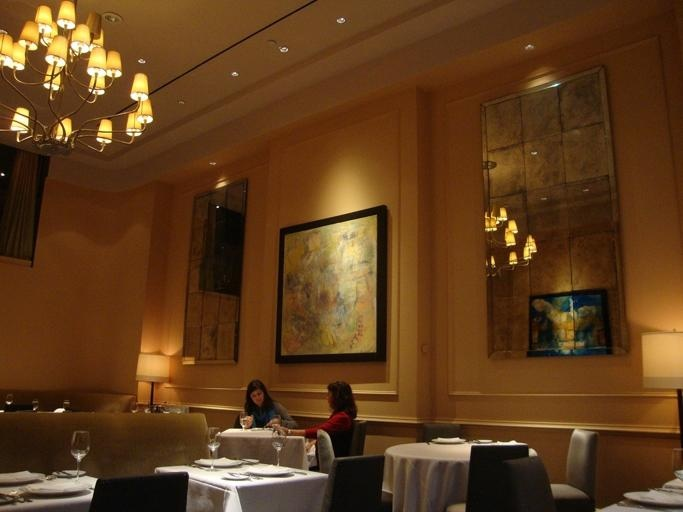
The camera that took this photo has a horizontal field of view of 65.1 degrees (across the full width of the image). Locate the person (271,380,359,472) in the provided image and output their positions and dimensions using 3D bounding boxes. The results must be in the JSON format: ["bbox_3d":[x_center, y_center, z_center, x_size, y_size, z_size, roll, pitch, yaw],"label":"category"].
[{"bbox_3d":[-0.225,1.902,5.761,0.749,1.119,0.655,-1,1,15],"label":"person"}]

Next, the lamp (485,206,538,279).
[{"bbox_3d":[1.917,-0.153,6.233,0.638,0.892,0.655,-2,-7,-29],"label":"lamp"}]

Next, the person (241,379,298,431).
[{"bbox_3d":[-0.876,1.866,6.704,0.588,0.818,0.498,-18,-16,-8],"label":"person"}]

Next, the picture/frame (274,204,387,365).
[{"bbox_3d":[-0.105,0.423,7.098,1.864,2.104,0.082,-11,-18,39],"label":"picture/frame"}]

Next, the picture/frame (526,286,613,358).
[{"bbox_3d":[2.364,0.677,5.455,0.657,0.673,0.092,-5,-11,38],"label":"picture/frame"}]
